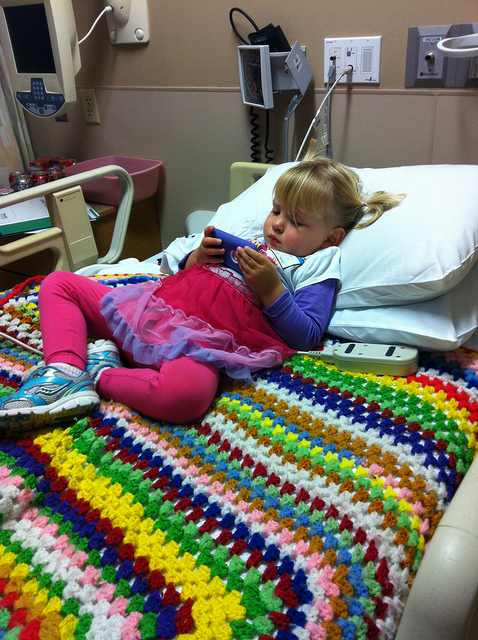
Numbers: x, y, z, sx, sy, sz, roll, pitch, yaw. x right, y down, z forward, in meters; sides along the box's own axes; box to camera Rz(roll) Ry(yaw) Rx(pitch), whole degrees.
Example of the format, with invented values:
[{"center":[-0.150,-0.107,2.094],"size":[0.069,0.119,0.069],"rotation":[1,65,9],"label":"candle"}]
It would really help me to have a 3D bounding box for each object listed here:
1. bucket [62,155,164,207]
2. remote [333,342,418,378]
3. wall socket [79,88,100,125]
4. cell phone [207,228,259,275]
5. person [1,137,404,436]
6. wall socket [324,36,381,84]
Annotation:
[{"center":[-0.517,-0.603,1.904],"size":[0.371,0.168,0.525],"rotation":[-27,37,-35],"label":"bucket"},{"center":[0.271,0.067,0.865],"size":[0.144,0.034,0.069],"rotation":[6,33,22],"label":"remote"},{"center":[-0.697,-0.997,2.028],"size":[0.107,0.152,0.021],"rotation":[21,38,37],"label":"wall socket"},{"center":[-0.021,-0.177,1.027],"size":[0.135,0.100,0.033],"rotation":[25,48,22],"label":"cell phone"},{"center":[-0.057,-0.134,0.974],"size":[0.856,0.465,0.469],"rotation":[-14,30,-31],"label":"person"},{"center":[0.347,-0.784,1.303],"size":[0.159,0.126,0.018],"rotation":[13,30,27],"label":"wall socket"}]
